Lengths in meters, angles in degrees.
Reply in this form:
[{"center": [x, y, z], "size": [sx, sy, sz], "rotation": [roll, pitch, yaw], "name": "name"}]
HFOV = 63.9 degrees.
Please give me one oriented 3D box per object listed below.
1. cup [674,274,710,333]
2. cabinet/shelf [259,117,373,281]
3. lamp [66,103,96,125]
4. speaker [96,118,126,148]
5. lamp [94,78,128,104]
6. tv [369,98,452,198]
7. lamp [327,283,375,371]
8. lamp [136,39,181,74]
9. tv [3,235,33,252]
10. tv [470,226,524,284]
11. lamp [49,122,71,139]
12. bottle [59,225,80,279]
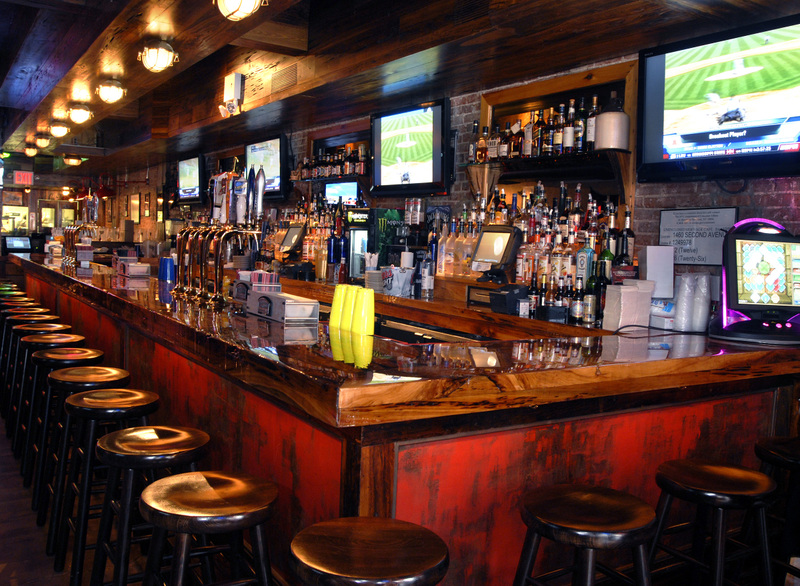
[{"center": [1.528, 0.050, 3.351], "size": [0.187, 0.303, 0.143], "rotation": [1, 4, 16], "name": "cup"}, {"center": [-0.812, -0.972, 6.550], "size": [1.867, 1.727, 0.609], "rotation": [0, -2, 42], "name": "cabinet/shelf"}, {"center": [-3.708, -2.093, 7.470], "size": [0.286, 0.198, 0.279], "rotation": [0, -1, -23], "name": "lamp"}, {"center": [-5.105, -2.797, 11.312], "size": [0.335, 0.466, 1.491], "rotation": [-2, 4, -28], "name": "speaker"}, {"center": [-2.806, -1.970, 6.256], "size": [0.298, 0.193, 0.291], "rotation": [8, 24, 1], "name": "lamp"}, {"center": [0.120, -1.289, 5.595], "size": [0.147, 0.651, 0.904], "rotation": [1, 2, -33], "name": "tv"}, {"center": [-0.202, 0.144, 2.682], "size": [0.120, 0.368, 0.278], "rotation": [5, -7, -29], "name": "lamp"}, {"center": [-1.917, -1.900, 5.136], "size": [0.247, 0.181, 0.241], "rotation": [3, 18, 3], "name": "lamp"}, {"center": [-6.841, -0.877, 11.513], "size": [0.431, 0.276, 0.746], "rotation": [-2, 4, -29], "name": "tv"}, {"center": [0.678, -0.264, 4.393], "size": [0.260, 0.456, 0.383], "rotation": [8, 0, -35], "name": "tv"}, {"center": [-4.662, -2.242, 8.732], "size": [0.258, 0.179, 0.253], "rotation": [7, 10, 11], "name": "lamp"}, {"center": [-3.338, -0.417, 6.505], "size": [0.145, 0.701, 0.302], "rotation": [2, 2, -10], "name": "bottle"}]
